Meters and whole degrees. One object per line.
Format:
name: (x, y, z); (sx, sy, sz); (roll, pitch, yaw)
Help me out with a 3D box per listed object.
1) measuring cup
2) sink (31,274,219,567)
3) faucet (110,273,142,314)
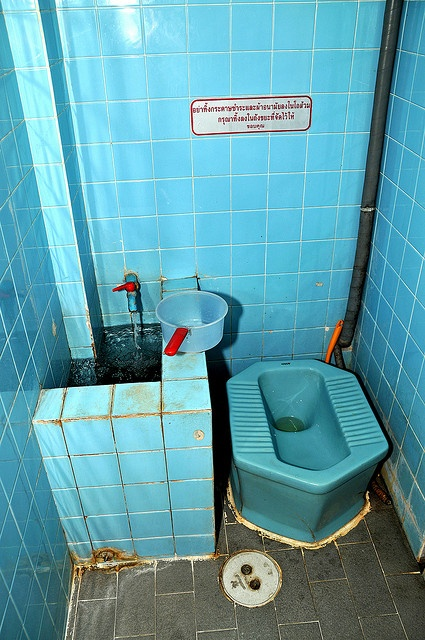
measuring cup: (-0.077, -0.002, 1.660); (0.266, 0.280, 0.408); (-7, 10, -19)
sink: (-0.231, 0.387, 1.756); (0.664, 0.769, 0.917); (2, 35, -5)
faucet: (-0.398, -0.140, 1.969); (0.153, 0.181, 0.063); (-9, 10, -3)
